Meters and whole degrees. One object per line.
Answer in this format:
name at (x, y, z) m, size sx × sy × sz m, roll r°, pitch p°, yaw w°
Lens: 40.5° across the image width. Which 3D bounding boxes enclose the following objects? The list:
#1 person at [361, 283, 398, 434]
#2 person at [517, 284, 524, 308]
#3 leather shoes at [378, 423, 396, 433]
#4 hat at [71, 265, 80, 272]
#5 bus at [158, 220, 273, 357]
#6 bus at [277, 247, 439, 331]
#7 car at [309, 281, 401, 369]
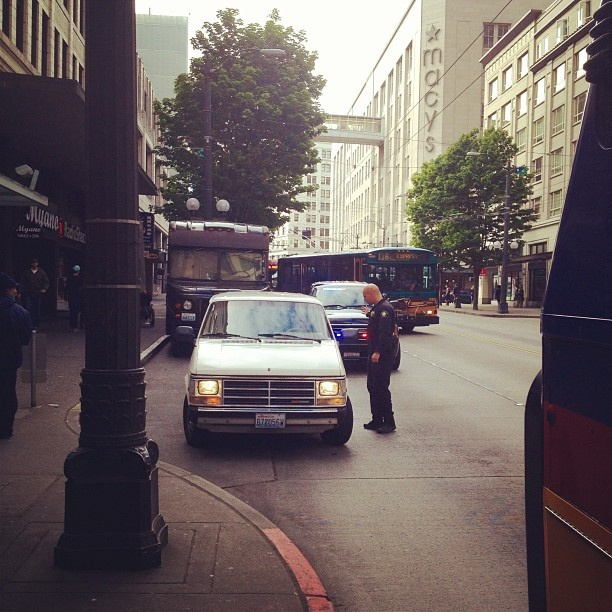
person at (0.894, 0.631, 9.930) m, size 0.425 × 1.694 × 0.699 m, roll 2°, pitch 3°, yaw 2°
person at (13.953, -0.584, 54.290) m, size 0.536 × 1.409 × 3.034 m, roll 3°, pitch 3°, yaw 15°
leather shoes at (0.949, 1.426, 9.698) m, size 0.216 × 0.117 × 0.087 m, roll 4°, pitch -3°, yaw -24°
hat at (-6.086, -0.965, 22.078) m, size 0.205 × 0.304 × 0.071 m, roll 6°, pitch -3°, yaw -5°
bus at (-2.020, -0.743, 18.756) m, size 1.614 × 2.292 × 3.268 m, roll 1°, pitch -3°, yaw -6°
bus at (1.977, -0.704, 30.043) m, size 2.226 × 3.143 × 9.285 m, roll -1°, pitch 1°, yaw -17°
car at (0.699, 0.308, 12.715) m, size 1.244 × 1.296 × 3.207 m, roll 0°, pitch 1°, yaw -2°
